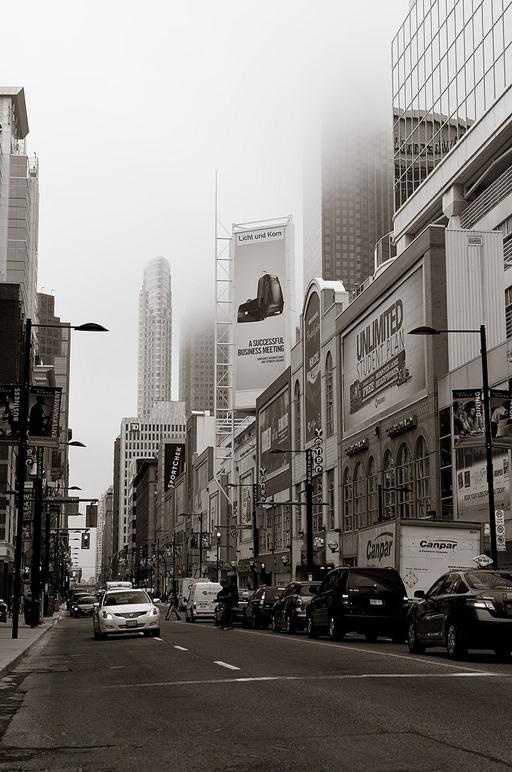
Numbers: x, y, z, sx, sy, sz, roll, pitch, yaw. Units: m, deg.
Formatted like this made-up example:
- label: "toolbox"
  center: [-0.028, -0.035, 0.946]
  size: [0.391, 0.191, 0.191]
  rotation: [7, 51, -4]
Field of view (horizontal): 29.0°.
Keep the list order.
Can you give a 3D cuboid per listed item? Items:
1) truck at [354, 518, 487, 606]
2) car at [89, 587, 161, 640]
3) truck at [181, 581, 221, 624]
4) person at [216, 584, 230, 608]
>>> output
- label: "truck"
  center: [4.115, 4.777, 27.059]
  size: [1.552, 2.983, 3.678]
  rotation: [2, -8, -16]
- label: "car"
  center: [-3.857, 6.636, 28.979]
  size: [1.890, 1.542, 2.302]
  rotation: [7, -17, -28]
- label: "truck"
  center: [-2.830, 11.007, 51.274]
  size: [1.591, 2.576, 3.840]
  rotation: [1, -10, -7]
- label: "person"
  center: [-1.147, 7.495, 35.344]
  size: [0.324, 0.691, 0.844]
  rotation: [2, -15, -14]
